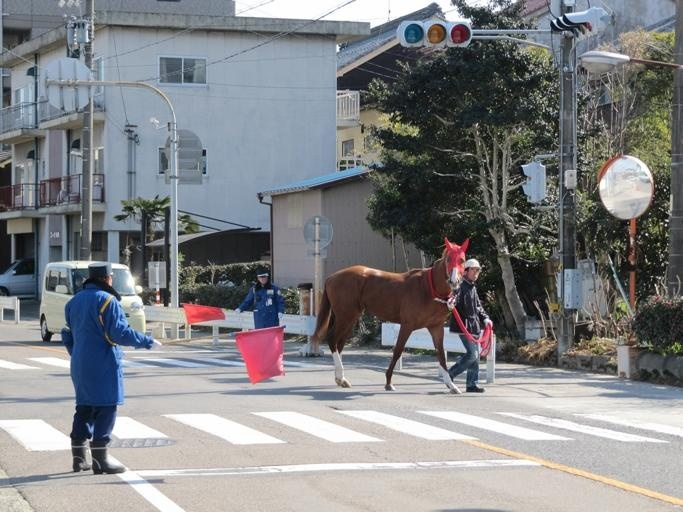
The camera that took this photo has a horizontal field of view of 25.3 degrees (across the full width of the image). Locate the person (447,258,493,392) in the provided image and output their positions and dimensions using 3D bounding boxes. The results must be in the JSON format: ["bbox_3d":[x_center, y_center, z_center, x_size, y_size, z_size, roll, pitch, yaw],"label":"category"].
[{"bbox_3d":[3.068,1.651,36.190,1.143,3.260,1.320,-3,-3,38],"label":"person"}]

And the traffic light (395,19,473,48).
[{"bbox_3d":[2.367,-5.803,38.436,1.872,0.739,0.668,0,-4,-5],"label":"traffic light"}]

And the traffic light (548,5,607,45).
[{"bbox_3d":[6.204,-6.125,38.872,1.561,0.753,0.737,-2,-4,23],"label":"traffic light"}]

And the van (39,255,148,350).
[{"bbox_3d":[-7.616,1.325,45.811,2.415,2.426,4.152,1,-3,-34],"label":"van"}]

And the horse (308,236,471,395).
[{"bbox_3d":[1.385,1.423,36.820,4.450,3.718,1.392,2,6,26],"label":"horse"}]
